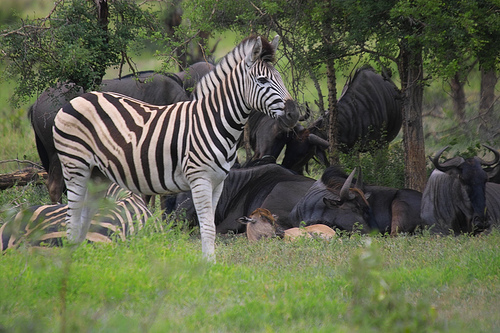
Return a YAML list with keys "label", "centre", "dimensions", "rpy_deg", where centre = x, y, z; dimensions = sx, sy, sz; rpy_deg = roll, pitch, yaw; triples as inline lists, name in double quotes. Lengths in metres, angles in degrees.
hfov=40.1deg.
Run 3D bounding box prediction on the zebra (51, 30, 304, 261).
- label: "zebra"
  centre: [-1.186, -0.252, 10.467]
  dimensions: [3.788, 3.254, 1.171]
  rpy_deg: [-2, 4, 14]
